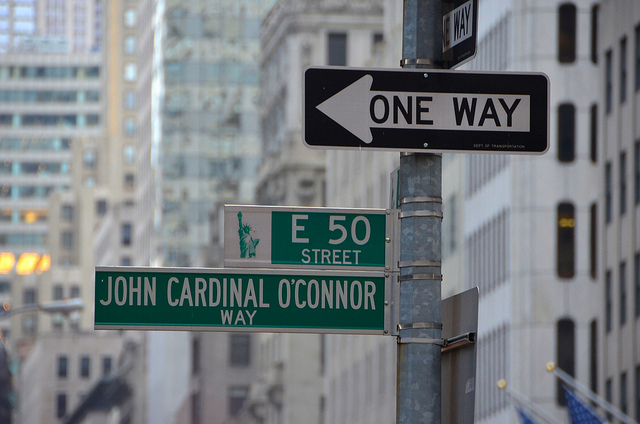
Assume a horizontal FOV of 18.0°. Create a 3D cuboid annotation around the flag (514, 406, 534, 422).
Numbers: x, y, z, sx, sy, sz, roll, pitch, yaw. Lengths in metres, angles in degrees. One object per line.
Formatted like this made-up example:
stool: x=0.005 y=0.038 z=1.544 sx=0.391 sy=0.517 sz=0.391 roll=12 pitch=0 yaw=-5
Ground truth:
flag: x=8.385 y=8.193 z=81.278 sx=0.200 sy=0.386 sz=1.533 roll=3 pitch=9 yaw=-20
